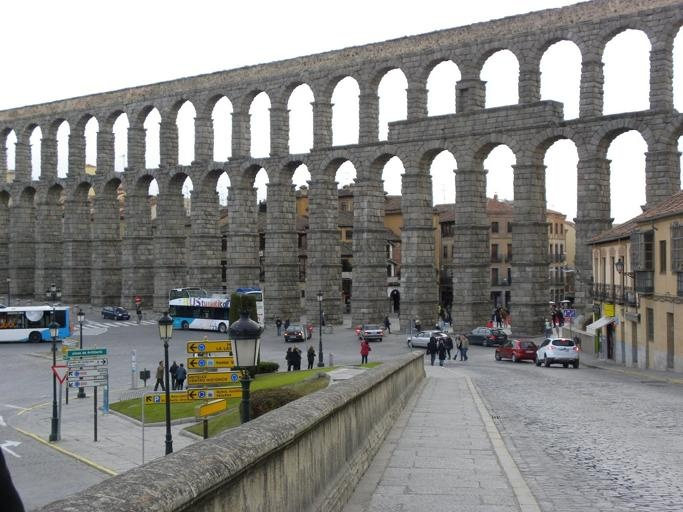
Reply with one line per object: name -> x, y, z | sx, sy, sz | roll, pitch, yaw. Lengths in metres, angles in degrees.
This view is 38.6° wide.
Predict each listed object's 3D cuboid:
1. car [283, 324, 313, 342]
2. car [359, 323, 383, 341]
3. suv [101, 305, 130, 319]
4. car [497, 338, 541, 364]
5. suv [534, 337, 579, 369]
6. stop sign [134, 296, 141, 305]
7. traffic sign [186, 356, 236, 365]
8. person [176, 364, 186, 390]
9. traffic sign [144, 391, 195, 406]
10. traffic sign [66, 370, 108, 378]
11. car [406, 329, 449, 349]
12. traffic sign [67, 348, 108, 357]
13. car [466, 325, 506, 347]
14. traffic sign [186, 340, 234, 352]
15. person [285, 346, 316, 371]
car -> -3.126, 5.455, 69.883 | 0.864, 0.774, 2.311 | -1, 2, 11
car -> 2.031, 5.341, 68.295 | 1.476, 1.167, 1.626 | -1, -7, -7
suv -> -20.315, 5.034, 87.235 | 1.863, 0.838, 1.189 | 19, 9, 27
car -> 10.044, 5.307, 55.298 | 1.087, 1.289, 2.883 | 1, -8, -21
suv -> 11.304, 5.050, 51.336 | 1.454, 1.649, 2.334 | 2, -8, -26
stop sign -> -18.816, 4.099, 88.799 | 0.897, 0.940, 0.846 | -5, 3, -11
traffic sign -> -3.894, 3.064, 28.648 | 1.265, 0.327, 1.207 | 0, -8, -14
person -> -8.145, 5.977, 49.006 | 0.468, 1.272, 2.364 | 0, -7, -9
traffic sign -> -5.572, 4.384, 30.575 | 1.101, 0.342, 2.512 | 3, -9, -30
traffic sign -> -9.846, 4.508, 37.547 | 1.423, 0.326, 0.207 | 1, -7, -19
car -> 5.301, 5.431, 63.355 | 2.376, 1.082, 1.223 | 4, 5, 42
traffic sign -> -9.952, 3.741, 38.125 | 0.811, 0.358, 1.682 | -6, -8, 28
car -> 9.829, 5.374, 66.128 | 1.203, 0.937, 2.424 | 1, 2, -41
traffic sign -> -4.026, 2.702, 29.577 | 1.206, 0.378, 1.647 | -1, -7, -4
person -> -2.401, 5.768, 55.263 | 1.360, 1.725, 0.546 | 0, 5, 6
